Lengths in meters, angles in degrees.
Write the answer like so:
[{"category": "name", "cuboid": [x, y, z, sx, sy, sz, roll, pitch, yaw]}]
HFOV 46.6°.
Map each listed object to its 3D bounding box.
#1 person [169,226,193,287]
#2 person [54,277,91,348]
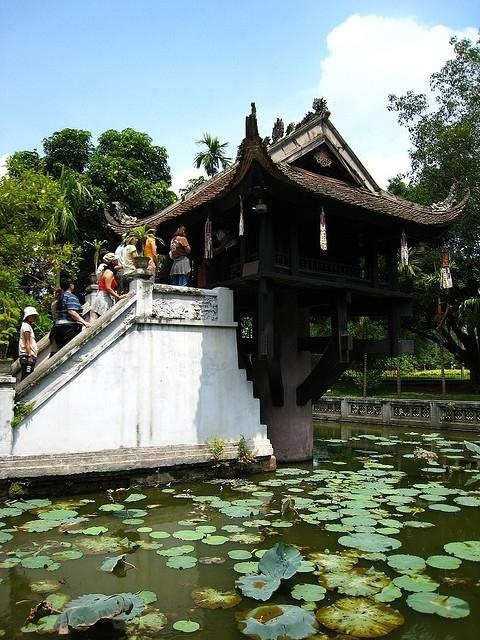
[{"category": "person", "cuboid": [-1.033, -1.123, 9.677, 0.323, 1.232, 1.324, -1, -3, -7]}, {"category": "person", "cuboid": [-2.502, -0.104, 8.254, 0.496, 1.053, 1.021, -1, -4, -19]}]
